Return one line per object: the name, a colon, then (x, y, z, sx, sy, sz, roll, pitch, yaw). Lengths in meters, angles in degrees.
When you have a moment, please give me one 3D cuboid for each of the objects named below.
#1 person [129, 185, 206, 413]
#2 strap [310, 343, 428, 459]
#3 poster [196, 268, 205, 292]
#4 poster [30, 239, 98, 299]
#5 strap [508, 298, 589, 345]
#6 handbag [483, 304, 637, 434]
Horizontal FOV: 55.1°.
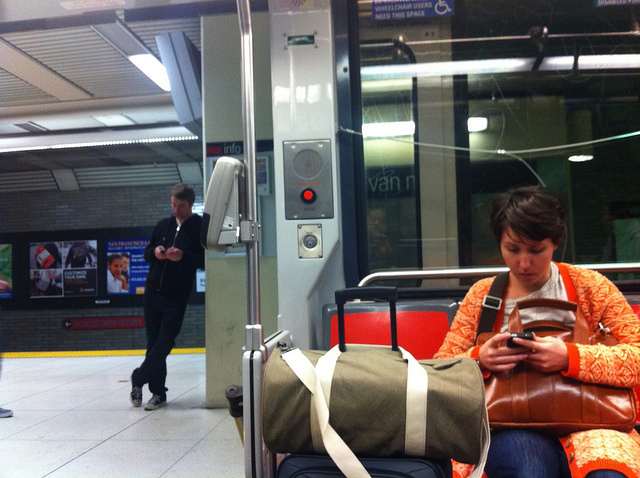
person: (-1.339, 0.508, 5.439, 0.560, 1.958, 0.460, -2, -2, 32)
strap: (0.243, 0.616, 2.496, 0.373, 0.301, 0.405, 0, -2, 7)
poster: (-2.069, 0.733, 10.580, 0.111, 0.328, 0.177, -1, -2, -3)
poster: (-4.508, 0.565, 10.929, 0.925, 0.829, 0.038, -2, -6, 6)
strap: (0.956, 0.410, 2.581, 0.307, 0.265, 0.177, 0, 0, 13)
handbag: (0.974, 0.544, 2.481, 0.484, 0.486, 0.201, 0, -3, 10)
